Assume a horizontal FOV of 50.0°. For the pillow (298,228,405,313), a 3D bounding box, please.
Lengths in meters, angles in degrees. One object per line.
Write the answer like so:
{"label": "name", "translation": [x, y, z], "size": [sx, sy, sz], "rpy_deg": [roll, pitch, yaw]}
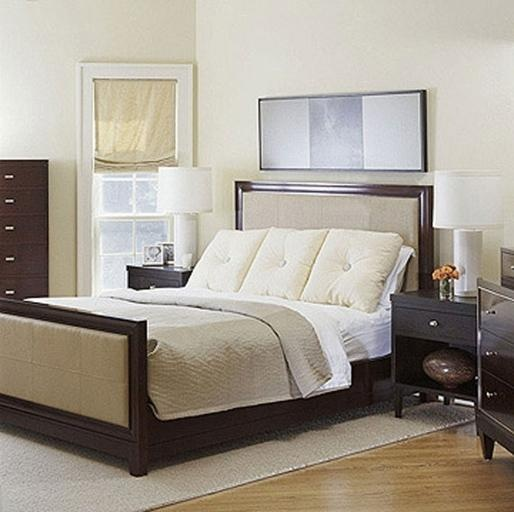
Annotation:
{"label": "pillow", "translation": [0.607, 0.052, 3.340], "size": [0.580, 0.496, 0.159], "rpy_deg": [11, -24, 45]}

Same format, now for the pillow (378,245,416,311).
{"label": "pillow", "translation": [0.864, 0.130, 3.408], "size": [0.096, 0.336, 0.337], "rpy_deg": [15, 16, -3]}

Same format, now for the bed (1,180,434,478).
{"label": "bed", "translation": [-0.166, 0.243, 3.211], "size": [2.132, 1.181, 1.472], "rpy_deg": [-5, 7, -44]}

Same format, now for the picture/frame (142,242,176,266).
{"label": "picture/frame", "translation": [-0.866, -0.014, 4.894], "size": [0.261, 0.153, 0.023], "rpy_deg": [-2, 0, -9]}

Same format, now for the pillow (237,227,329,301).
{"label": "pillow", "translation": [0.222, 0.058, 3.696], "size": [0.552, 0.476, 0.135], "rpy_deg": [8, -26, 47]}
